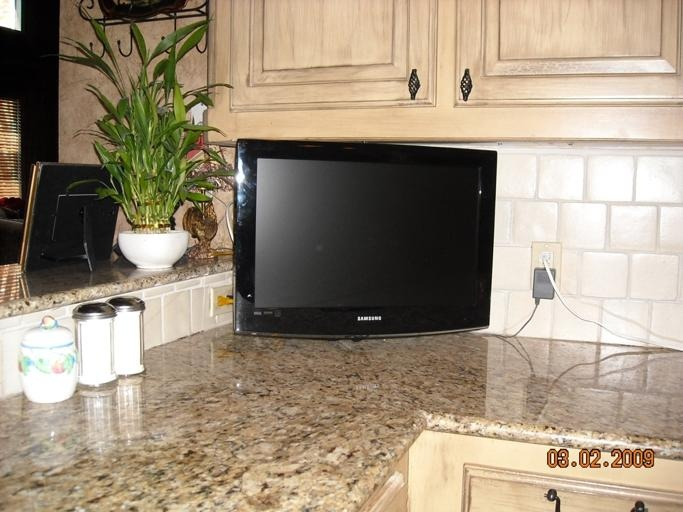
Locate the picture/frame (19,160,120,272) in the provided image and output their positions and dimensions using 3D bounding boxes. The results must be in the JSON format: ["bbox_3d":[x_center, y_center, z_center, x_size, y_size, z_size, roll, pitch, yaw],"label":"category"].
[{"bbox_3d":[-0.785,-0.098,1.561,0.106,0.288,0.295,8,2,6],"label":"picture/frame"}]

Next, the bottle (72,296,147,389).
[{"bbox_3d":[-0.465,0.197,1.202,0.120,0.198,0.206,1,3,12],"label":"bottle"}]

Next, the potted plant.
[{"bbox_3d":[-0.518,-0.279,1.529,0.493,0.677,0.413,2,16,-3],"label":"potted plant"}]

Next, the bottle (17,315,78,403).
[{"bbox_3d":[-0.620,0.216,1.128,0.113,0.169,0.115,4,6,0],"label":"bottle"}]

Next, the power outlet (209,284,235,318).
[{"bbox_3d":[-0.379,0.140,1.676,0.010,0.098,0.103,4,10,26],"label":"power outlet"}]

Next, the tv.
[{"bbox_3d":[0.078,-0.041,1.505,0.741,0.540,0.088,0,5,-13],"label":"tv"}]
